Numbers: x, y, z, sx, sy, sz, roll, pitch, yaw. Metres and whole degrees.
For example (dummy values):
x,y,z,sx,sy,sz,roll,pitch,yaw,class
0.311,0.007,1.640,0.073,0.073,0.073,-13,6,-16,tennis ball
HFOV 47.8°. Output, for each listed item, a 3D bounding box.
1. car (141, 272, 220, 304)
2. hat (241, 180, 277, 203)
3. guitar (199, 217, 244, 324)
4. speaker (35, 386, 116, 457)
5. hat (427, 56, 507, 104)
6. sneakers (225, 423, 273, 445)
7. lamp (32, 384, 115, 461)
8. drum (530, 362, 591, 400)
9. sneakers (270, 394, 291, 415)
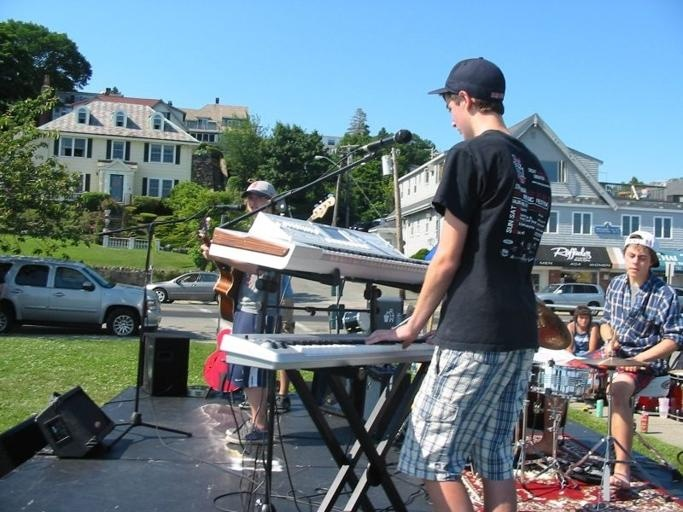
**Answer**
x,y,z,sx,sy,sz,roll,pitch,yaw,class
-4.653,0.995,22.908,3.576,0.985,1.364,1,-4,-13,car
-0.740,-0.651,7.402,0.237,0.148,0.326,-5,-14,40,hat
-1.257,0.271,7.736,0.151,0.914,0.407,-19,-18,13,guitar
-2.395,1.517,6.868,0.469,0.463,0.524,-25,-5,0,speaker
0.870,-1.246,5.360,0.529,0.260,0.357,11,12,24,hat
-0.888,1.698,7.262,0.424,0.145,0.254,2,-15,17,sneakers
-2.382,1.494,6.887,0.463,0.483,0.534,-25,-4,6,lamp
2.006,1.128,7.057,0.543,0.218,0.392,5,-3,7,drum
-0.627,1.630,8.411,0.264,0.216,0.561,-1,-11,8,sneakers
